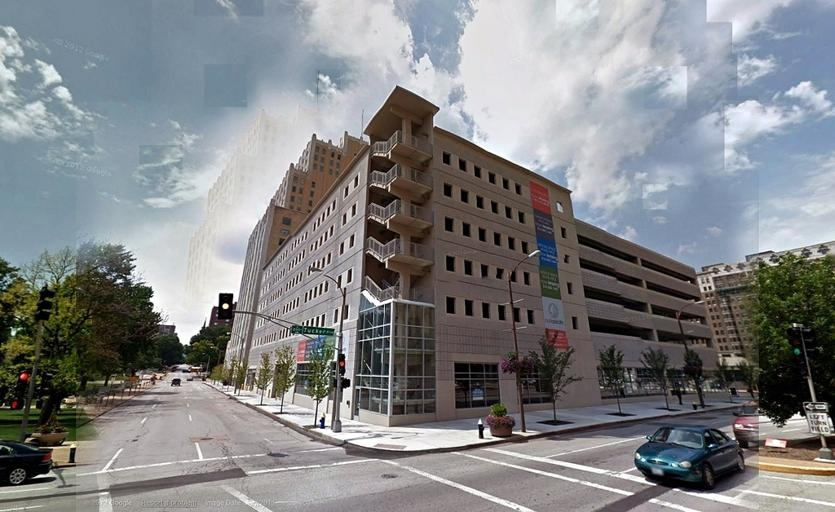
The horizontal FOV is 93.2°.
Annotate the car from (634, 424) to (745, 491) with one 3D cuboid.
[{"bbox_3d":[12.871,9.437,18.640,4.857,2.436,1.862,3,-12,-16],"label":"car"}]

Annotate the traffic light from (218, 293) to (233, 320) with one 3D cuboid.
[{"bbox_3d":[-12.793,3.309,26.065,0.994,1.744,0.830,3,-12,-13],"label":"traffic light"}]

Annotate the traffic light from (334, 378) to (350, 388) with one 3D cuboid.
[{"bbox_3d":[-5.646,9.466,28.980,1.221,0.427,0.863,-6,-2,22],"label":"traffic light"}]

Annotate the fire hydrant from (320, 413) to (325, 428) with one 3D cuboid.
[{"bbox_3d":[-7.405,12.906,30.648,0.337,0.958,0.740,4,-12,-17],"label":"fire hydrant"}]

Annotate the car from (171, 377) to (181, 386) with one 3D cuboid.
[{"bbox_3d":[-48.590,25.469,78.844,1.741,1.169,2.575,4,-9,-23],"label":"car"}]

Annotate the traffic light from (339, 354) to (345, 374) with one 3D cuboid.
[{"bbox_3d":[-5.592,7.921,28.792,0.384,1.415,0.598,4,-13,-19],"label":"traffic light"}]

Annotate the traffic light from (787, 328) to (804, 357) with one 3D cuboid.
[{"bbox_3d":[18.658,4.201,19.402,0.471,1.349,0.319,-10,-16,40],"label":"traffic light"}]
